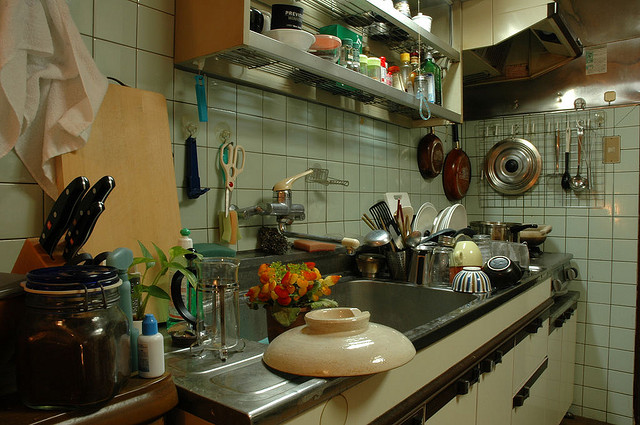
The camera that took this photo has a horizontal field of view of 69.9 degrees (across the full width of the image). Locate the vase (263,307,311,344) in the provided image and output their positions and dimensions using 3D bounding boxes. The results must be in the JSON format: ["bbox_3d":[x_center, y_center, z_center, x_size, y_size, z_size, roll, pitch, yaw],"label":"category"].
[{"bbox_3d":[-0.111,0.340,1.440,0.110,0.088,0.111,0,1,19],"label":"vase"}]

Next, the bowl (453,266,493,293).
[{"bbox_3d":[0.639,0.287,1.926,0.112,0.067,0.115,0,-1,0],"label":"bowl"}]

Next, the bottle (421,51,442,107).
[{"bbox_3d":[0.609,-0.733,2.569,0.124,0.309,0.124,-2,2,0],"label":"bottle"}]

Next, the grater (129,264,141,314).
[{"bbox_3d":[-0.508,0.214,1.258,0.026,0.142,0.082,-3,1,-23],"label":"grater"}]

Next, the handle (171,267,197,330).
[{"bbox_3d":[-0.386,0.256,1.325,0.055,0.184,0.083,-2,1,33],"label":"handle"}]

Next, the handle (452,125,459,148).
[{"bbox_3d":[1.035,-0.575,3.484,0.036,0.136,0.101,-2,1,33],"label":"handle"}]

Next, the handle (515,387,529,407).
[{"bbox_3d":[0.902,0.821,2.049,0.048,0.083,0.085,-1,-3,33],"label":"handle"}]

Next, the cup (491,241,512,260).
[{"bbox_3d":[0.907,0.185,2.303,0.101,0.107,0.062,4,-1,5],"label":"cup"}]

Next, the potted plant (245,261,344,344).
[{"bbox_3d":[-0.086,0.266,1.422,0.267,0.226,0.227,3,-6,-11],"label":"potted plant"}]

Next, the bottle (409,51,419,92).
[{"bbox_3d":[0.499,-0.755,2.429,0.049,0.148,0.137,-2,0,12],"label":"bottle"}]

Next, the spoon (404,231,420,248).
[{"bbox_3d":[0.434,0.129,2.165,0.072,0.060,0.130,-2,0,11],"label":"spoon"}]

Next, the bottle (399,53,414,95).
[{"bbox_3d":[0.469,-0.744,2.506,0.071,0.238,0.071,-3,8,0],"label":"bottle"}]

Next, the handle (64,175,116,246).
[{"bbox_3d":[-0.639,0.007,1.264,0.092,0.075,0.399,28,-39,-17],"label":"handle"}]

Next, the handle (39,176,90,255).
[{"bbox_3d":[-0.693,0.011,1.247,0.278,0.066,0.055,-46,-25,19],"label":"handle"}]

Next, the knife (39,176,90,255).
[{"bbox_3d":[-0.691,0.011,1.246,0.271,0.064,0.054,-47,-25,17],"label":"knife"}]

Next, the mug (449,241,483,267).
[{"bbox_3d":[0.662,0.187,2.091,0.119,0.119,0.115,-2,-4,29],"label":"mug"}]

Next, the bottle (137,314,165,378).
[{"bbox_3d":[-0.416,0.327,1.120,0.058,0.158,0.034,-3,1,-24],"label":"bottle"}]

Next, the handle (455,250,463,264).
[{"bbox_3d":[0.632,0.203,2.091,0.034,0.049,0.021,-2,1,20],"label":"handle"}]

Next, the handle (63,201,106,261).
[{"bbox_3d":[-0.639,0.052,1.229,0.223,0.060,0.044,-41,-15,29],"label":"handle"}]

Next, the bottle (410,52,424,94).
[{"bbox_3d":[0.528,-0.782,2.506,0.071,0.184,0.298,-2,0,12],"label":"bottle"}]

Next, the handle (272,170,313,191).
[{"bbox_3d":[-0.129,-0.147,2.054,0.063,0.035,0.199,5,25,40],"label":"handle"}]

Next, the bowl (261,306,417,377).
[{"bbox_3d":[0.052,0.348,1.229,0.411,0.151,0.136,-3,0,-6],"label":"bowl"}]

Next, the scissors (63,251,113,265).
[{"bbox_3d":[-0.613,0.123,1.205,0.096,0.024,0.069,-11,1,-21],"label":"scissors"}]

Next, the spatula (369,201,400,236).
[{"bbox_3d":[0.313,0.035,2.265,0.070,0.266,0.039,-23,29,7],"label":"spatula"}]

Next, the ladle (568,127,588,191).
[{"bbox_3d":[1.752,-0.360,3.124,0.036,0.293,0.108,-3,1,-38],"label":"ladle"}]

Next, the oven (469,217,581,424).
[{"bbox_3d":[1.334,0.730,2.869,0.508,0.915,1.021,-2,1,31],"label":"oven"}]

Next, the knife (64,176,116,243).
[{"bbox_3d":[-0.622,-0.004,1.229,0.229,0.055,0.048,-45,-45,16],"label":"knife"}]

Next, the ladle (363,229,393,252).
[{"bbox_3d":[0.273,0.136,2.166,0.108,0.089,0.119,-3,0,-37],"label":"ladle"}]

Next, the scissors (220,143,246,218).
[{"bbox_3d":[-0.363,-0.139,1.877,0.028,0.269,0.108,-7,-18,39],"label":"scissors"}]

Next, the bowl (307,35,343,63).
[{"bbox_3d":[0.024,-0.675,1.884,0.121,0.071,0.118,2,5,0],"label":"bowl"}]
